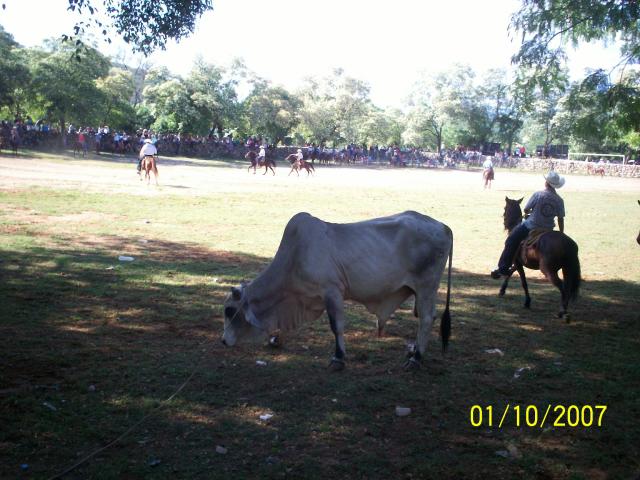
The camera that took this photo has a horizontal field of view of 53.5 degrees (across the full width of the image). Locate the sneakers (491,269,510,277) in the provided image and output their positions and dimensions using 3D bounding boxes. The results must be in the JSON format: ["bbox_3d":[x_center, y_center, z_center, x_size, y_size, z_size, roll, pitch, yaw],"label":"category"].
[{"bbox_3d":[3.577,0.642,12.403,0.256,0.145,0.487,0,-2,36],"label":"sneakers"}]

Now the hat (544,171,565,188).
[{"bbox_3d":[4.314,-1.181,11.783,0.331,0.129,0.351,4,45,-19],"label":"hat"}]

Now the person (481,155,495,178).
[{"bbox_3d":[9.071,-3.869,34.108,0.468,1.137,1.720,6,12,12],"label":"person"}]

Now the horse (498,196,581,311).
[{"bbox_3d":[4.143,0.307,12.261,0.669,1.975,2.735,1,8,-12],"label":"horse"}]

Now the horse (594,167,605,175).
[{"bbox_3d":[22.237,-5.591,50.411,0.408,0.733,1.280,5,12,7],"label":"horse"}]
